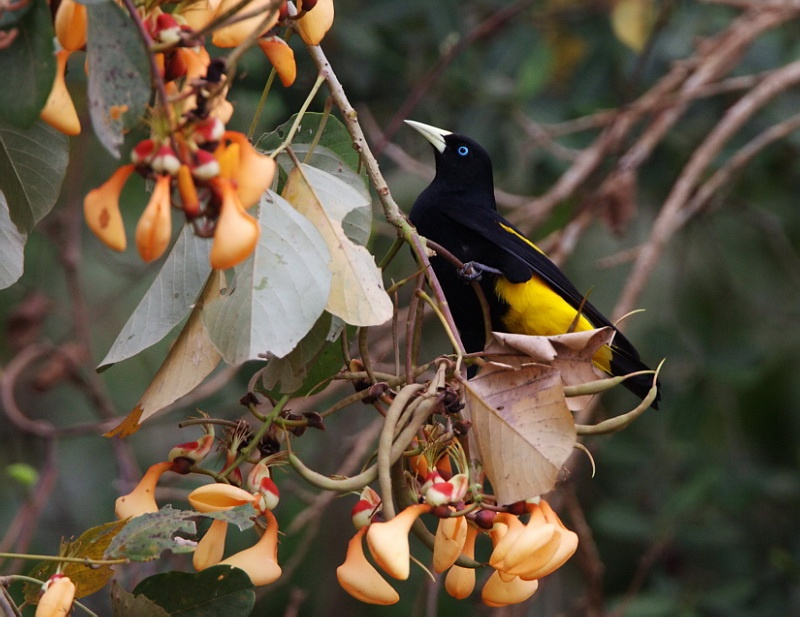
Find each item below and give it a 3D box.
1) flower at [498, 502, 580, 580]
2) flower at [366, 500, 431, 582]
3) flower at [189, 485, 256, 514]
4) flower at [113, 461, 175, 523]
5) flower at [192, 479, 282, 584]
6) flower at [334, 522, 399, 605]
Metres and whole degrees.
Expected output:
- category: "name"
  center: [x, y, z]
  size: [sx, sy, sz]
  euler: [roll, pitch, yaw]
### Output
- category: "flower"
  center: [0.292, 0.466, 2.163]
  size: [0.120, 0.104, 0.249]
  euler: [6, 35, 4]
- category: "flower"
  center: [-0.005, 0.463, 2.104]
  size: [0.094, 0.258, 0.158]
  euler: [26, 78, -1]
- category: "flower"
  center: [-0.376, 0.393, 2.177]
  size: [0.111, 0.042, 0.065]
  euler: [-15, 74, -8]
- category: "flower"
  center: [-0.555, 0.381, 2.276]
  size: [0.100, 0.128, 0.189]
  euler: [11, 32, -12]
- category: "flower"
  center: [-0.349, 0.490, 2.220]
  size: [0.210, 0.100, 0.234]
  euler: [11, 65, -8]
- category: "flower"
  center: [-0.063, 0.527, 2.148]
  size: [0.130, 0.184, 0.069]
  euler: [15, 38, 15]
